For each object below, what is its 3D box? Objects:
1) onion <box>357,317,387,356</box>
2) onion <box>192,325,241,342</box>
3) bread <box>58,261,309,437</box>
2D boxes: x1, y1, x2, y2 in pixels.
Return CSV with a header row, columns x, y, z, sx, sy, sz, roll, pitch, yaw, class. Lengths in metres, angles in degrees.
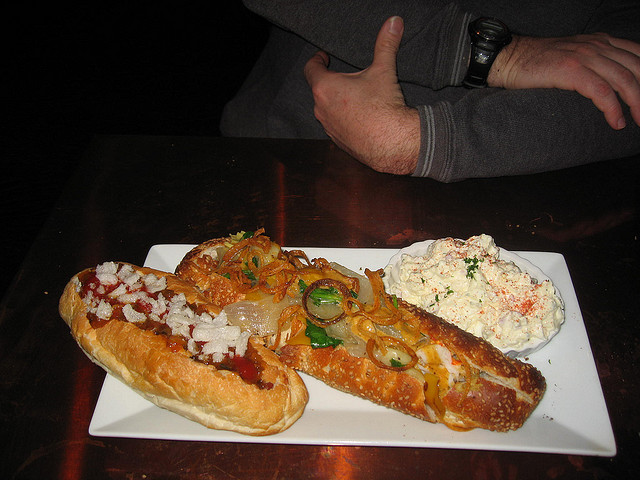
x,y,z,sx,sy,sz,roll,pitch,yaw,class
0.237,0.447,2.457,0.062,0.071,0.191,-35,73,-20,onion
-0.467,0.425,2.427,0.210,0.068,0.066,-1,64,-7,onion
-0.667,0.502,2.485,1.294,0.281,0.547,36,66,11,bread
